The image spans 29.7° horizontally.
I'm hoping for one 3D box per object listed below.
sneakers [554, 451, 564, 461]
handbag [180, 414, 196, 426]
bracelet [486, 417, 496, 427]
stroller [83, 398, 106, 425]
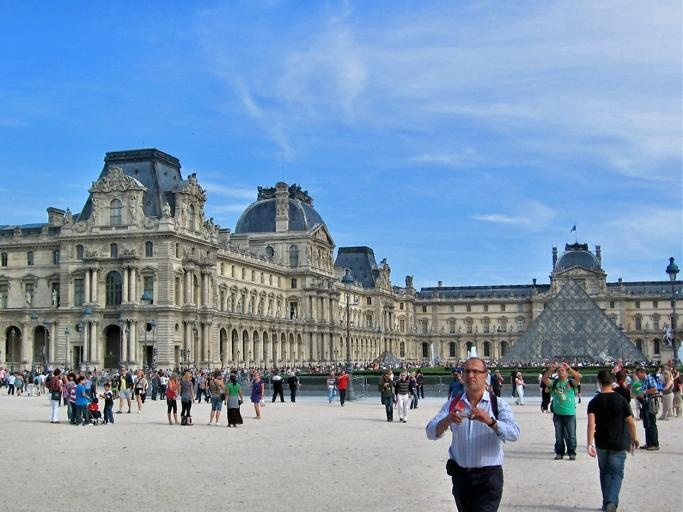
[{"bbox_3d":[6.108,5.740,36.543,0.120,0.223,0.326,-14,-25,38],"label":"sneakers"},{"bbox_3d":[-5.532,5.835,45.363,0.273,0.393,0.256,-5,-15,12],"label":"handbag"},{"bbox_3d":[3.216,3.638,27.963,0.067,0.158,0.141,8,2,-30],"label":"bracelet"},{"bbox_3d":[-8.770,5.554,45.643,0.428,0.905,0.557,-5,-10,26],"label":"stroller"}]
